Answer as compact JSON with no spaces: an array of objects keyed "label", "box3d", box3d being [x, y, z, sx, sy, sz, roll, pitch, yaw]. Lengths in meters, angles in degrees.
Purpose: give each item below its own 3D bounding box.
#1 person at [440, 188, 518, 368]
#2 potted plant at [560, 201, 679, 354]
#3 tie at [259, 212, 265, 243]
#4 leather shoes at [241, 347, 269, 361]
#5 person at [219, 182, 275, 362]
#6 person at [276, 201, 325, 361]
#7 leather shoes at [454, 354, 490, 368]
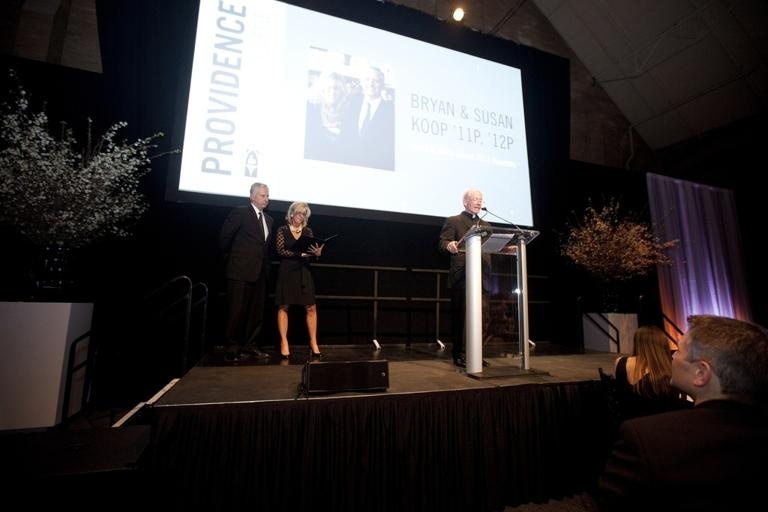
[{"label":"person","box3d":[0.898,0.214,6.114,0.521,2.066,1.057,3,-4,1]},{"label":"potted plant","box3d":[3.698,-0.075,8.595,1.283,1.359,1.443,-1,26,32]},{"label":"tie","box3d":[-1.488,-0.358,6.518,0.037,0.301,0.033,-6,-11,-17]},{"label":"leather shoes","box3d":[-1.520,1.162,6.355,0.352,0.166,0.139,-1,-10,3]},{"label":"person","box3d":[-1.674,0.160,6.403,0.600,2.114,0.367,5,-5,-20]},{"label":"person","box3d":[-1.045,0.278,6.620,0.599,1.918,1.249,4,-4,-7]},{"label":"leather shoes","box3d":[0.940,1.174,5.906,0.155,0.133,0.625,5,-4,-21]}]
